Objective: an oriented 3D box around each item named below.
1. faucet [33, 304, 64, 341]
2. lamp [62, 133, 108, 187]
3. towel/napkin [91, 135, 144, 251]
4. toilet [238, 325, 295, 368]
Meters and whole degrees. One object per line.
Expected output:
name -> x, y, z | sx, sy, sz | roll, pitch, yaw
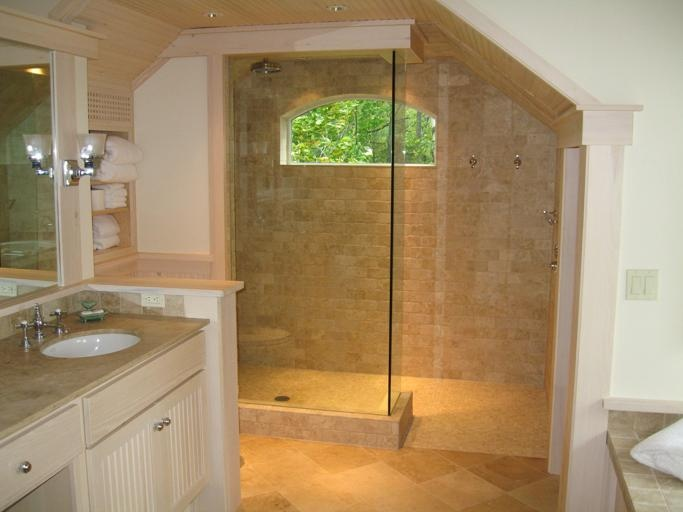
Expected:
faucet -> -1.384, 0.319, 2.720 | 0.201, 0.152, 0.150 | 0, 10, -11
lamp -> -1.339, -0.512, 3.049 | 0.223, 0.289, 0.194 | 4, 14, 12
towel/napkin -> -1.477, -0.414, 3.821 | 0.290, 0.768, 0.490 | 0, 14, -6
toilet -> -0.509, 0.623, 4.103 | 0.526, 0.281, 0.285 | 0, -1, 10
